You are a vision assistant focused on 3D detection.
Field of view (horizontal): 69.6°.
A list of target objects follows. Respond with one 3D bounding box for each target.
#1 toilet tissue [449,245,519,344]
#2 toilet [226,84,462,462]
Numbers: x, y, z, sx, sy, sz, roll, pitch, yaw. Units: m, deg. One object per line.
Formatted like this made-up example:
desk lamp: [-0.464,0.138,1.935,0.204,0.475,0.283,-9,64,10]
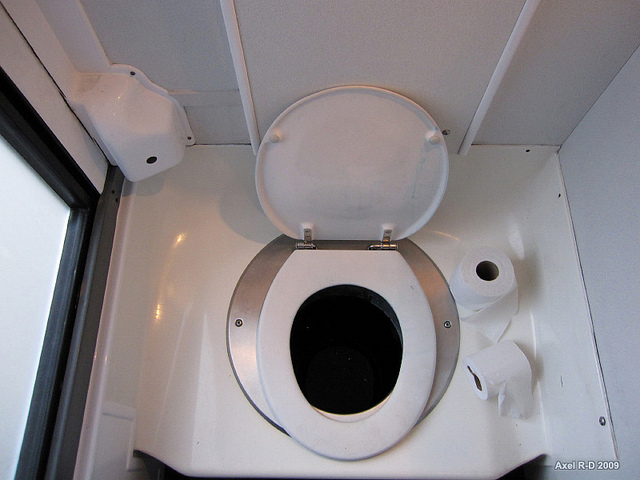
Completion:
toilet tissue: [0.525,0.162,1.463,0.204,0.311,0.140,3,-2,6]
toilet: [0.092,0.256,1.502,0.624,0.852,1.185,11,-26,7]
